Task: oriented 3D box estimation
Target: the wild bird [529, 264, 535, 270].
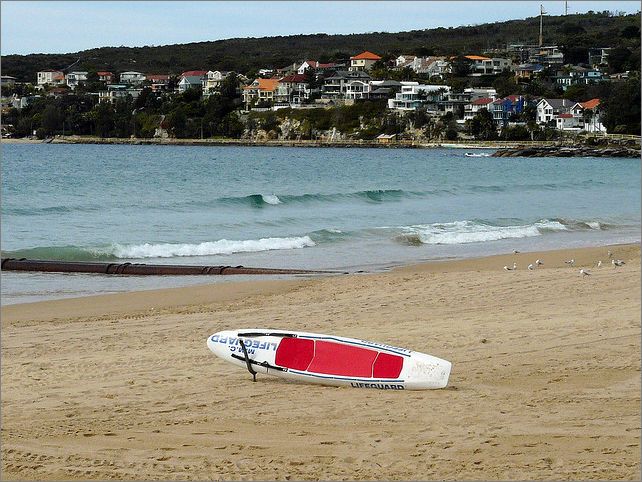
[{"bbox_3d":[14.716,1.964,87.097,0.308,0.404,0.439,-3,11,-3],"label":"wild bird"}]
